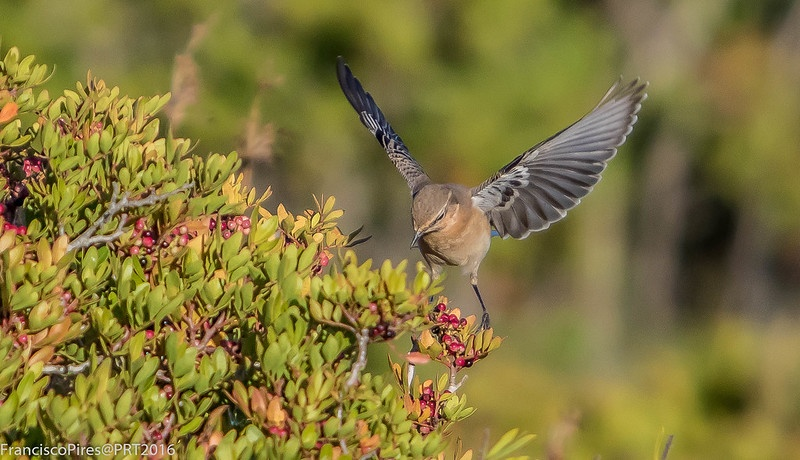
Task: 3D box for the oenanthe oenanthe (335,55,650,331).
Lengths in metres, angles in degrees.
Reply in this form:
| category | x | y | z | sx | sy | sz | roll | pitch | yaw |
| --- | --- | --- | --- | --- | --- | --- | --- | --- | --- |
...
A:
| category | x | y | z | sx | sy | sz | roll | pitch | yaw |
| --- | --- | --- | --- | --- | --- | --- | --- | --- | --- |
| oenanthe oenanthe | 1.291 | -0.369 | 13.280 | 3.439 | 2.840 | 2.899 | 11 | 23 | 27 |
